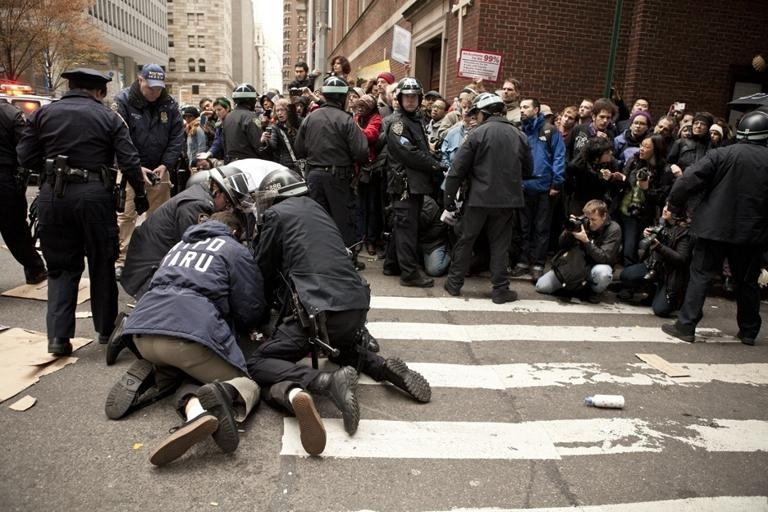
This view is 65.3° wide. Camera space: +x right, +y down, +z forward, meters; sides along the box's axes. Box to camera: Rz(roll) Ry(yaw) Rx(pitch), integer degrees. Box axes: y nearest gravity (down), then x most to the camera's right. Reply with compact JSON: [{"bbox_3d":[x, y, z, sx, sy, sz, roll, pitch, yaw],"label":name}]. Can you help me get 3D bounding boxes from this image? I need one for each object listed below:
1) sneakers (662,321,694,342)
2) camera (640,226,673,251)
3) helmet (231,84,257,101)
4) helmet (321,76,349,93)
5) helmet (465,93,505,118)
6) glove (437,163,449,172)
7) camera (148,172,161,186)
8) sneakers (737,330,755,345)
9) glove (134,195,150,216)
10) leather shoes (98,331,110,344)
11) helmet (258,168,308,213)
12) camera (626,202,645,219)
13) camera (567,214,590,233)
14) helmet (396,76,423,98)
[{"bbox_3d":[3.753,0.948,7.668,0.150,0.166,0.407,-7,18,-29],"label":"sneakers"},{"bbox_3d":[3.646,-0.262,8.092,0.364,0.202,0.359,-32,10,-26],"label":"camera"},{"bbox_3d":[-2.352,-2.713,10.097,0.344,0.305,0.384,8,28,7],"label":"helmet"},{"bbox_3d":[-0.733,-2.508,8.823,0.357,0.258,0.253,-13,26,-16],"label":"helmet"},{"bbox_3d":[1.423,-2.190,8.498,0.423,0.309,0.343,-14,24,7],"label":"helmet"},{"bbox_3d":[0.924,-1.392,9.368,0.169,0.075,0.218,-1,3,-6],"label":"glove"},{"bbox_3d":[-3.217,-1.104,8.389,0.120,0.130,0.341,-11,-7,-27],"label":"camera"},{"bbox_3d":[4.627,1.040,7.729,0.108,0.104,0.240,-1,18,-3],"label":"sneakers"},{"bbox_3d":[-3.158,-0.671,7.794,0.180,0.219,0.569,-24,14,-24],"label":"glove"},{"bbox_3d":[-3.181,0.936,6.819,0.106,0.090,0.228,0,-4,-27],"label":"leather shoes"},{"bbox_3d":[-1.085,-0.706,6.330,0.540,0.409,0.401,2,2,16],"label":"helmet"},{"bbox_3d":[3.683,-0.685,8.896,0.185,0.180,0.169,-42,-13,35],"label":"camera"},{"bbox_3d":[2.695,-0.460,8.424,0.255,0.151,0.276,4,9,41],"label":"camera"},{"bbox_3d":[0.353,-2.436,8.628,0.261,0.247,0.336,2,26,-7],"label":"helmet"}]
